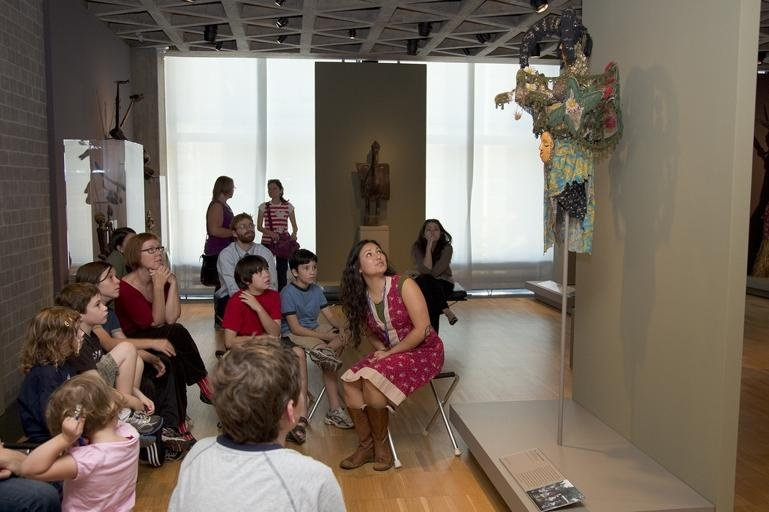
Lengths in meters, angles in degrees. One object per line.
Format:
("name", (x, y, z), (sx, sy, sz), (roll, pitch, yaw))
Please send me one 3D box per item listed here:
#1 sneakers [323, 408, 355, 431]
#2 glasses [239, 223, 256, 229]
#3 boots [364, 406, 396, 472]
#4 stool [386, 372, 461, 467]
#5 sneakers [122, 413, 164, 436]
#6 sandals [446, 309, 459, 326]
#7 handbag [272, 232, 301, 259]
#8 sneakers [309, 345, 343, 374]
("sneakers", (-0.379, 1.372, 4.429), (0.263, 0.143, 0.121), (6, 3, 24))
("glasses", (-1.501, -0.337, 5.724), (0.104, 0.085, 0.193), (12, 13, 40))
("boots", (-0.027, 1.288, 3.765), (0.206, 0.469, 0.180), (0, 11, -15))
("stool", (0.344, 1.251, 4.337), (0.612, 0.847, 0.591), (3, 0, -10))
("sneakers", (-1.632, 1.130, 3.533), (0.228, 0.100, 0.126), (1, 8, 5))
("sandals", (0.914, 0.816, 6.850), (0.131, 0.181, 0.406), (-1, 8, -4))
("handbag", (-1.368, -0.145, 7.146), (0.380, 0.400, 0.166), (1, -9, -23))
("sneakers", (-0.494, 0.844, 4.231), (0.167, 0.143, 0.363), (-23, 28, -36))
